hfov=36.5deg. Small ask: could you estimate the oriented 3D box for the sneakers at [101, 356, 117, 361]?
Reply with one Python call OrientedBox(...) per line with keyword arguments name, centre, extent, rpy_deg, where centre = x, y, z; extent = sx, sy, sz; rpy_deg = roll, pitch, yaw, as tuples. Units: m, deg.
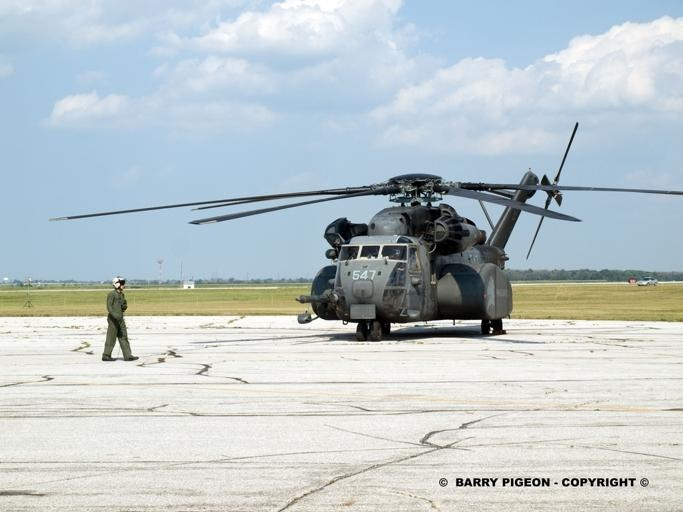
OrientedBox(name="sneakers", centre=(-5.125, 2.247, 22.819), extent=(0.361, 0.129, 0.115), rpy_deg=(-7, -7, 32))
